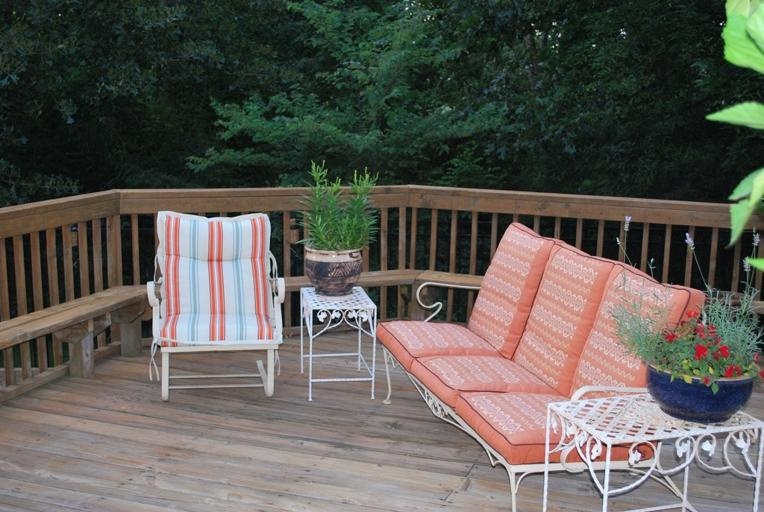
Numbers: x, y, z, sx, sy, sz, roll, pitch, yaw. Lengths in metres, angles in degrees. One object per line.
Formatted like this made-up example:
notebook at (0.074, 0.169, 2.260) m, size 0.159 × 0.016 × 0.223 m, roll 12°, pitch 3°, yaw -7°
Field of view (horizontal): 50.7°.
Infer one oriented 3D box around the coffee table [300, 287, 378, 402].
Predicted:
coffee table at (-0.346, 0.758, 6.842) m, size 0.547 × 0.736 × 0.777 m, roll 1°, pitch 2°, yaw -8°

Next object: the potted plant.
potted plant at (-0.363, -0.189, 6.812) m, size 0.564 × 1.054 × 0.602 m, roll 0°, pitch -1°, yaw -1°

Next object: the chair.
chair at (-1.397, 0.342, 6.955) m, size 1.386 × 1.790 × 1.416 m, roll -1°, pitch 6°, yaw -11°

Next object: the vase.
vase at (1.968, 0.840, 5.019) m, size 0.666 × 0.334 × 0.647 m, roll -2°, pitch -1°, yaw -33°
